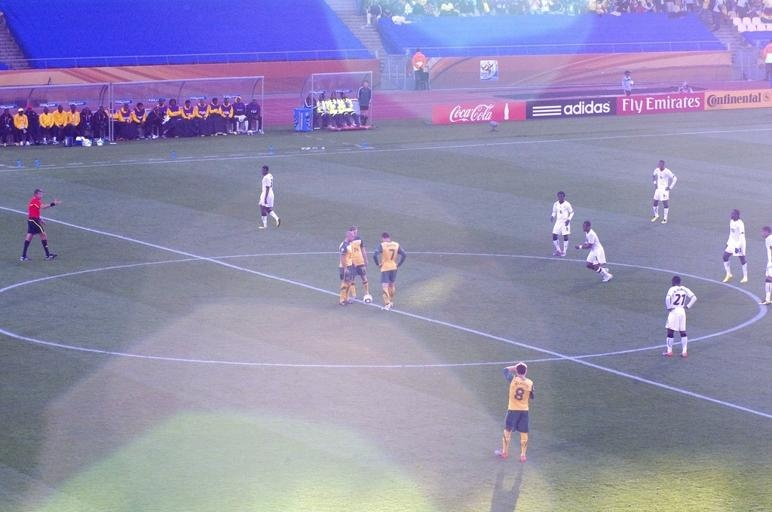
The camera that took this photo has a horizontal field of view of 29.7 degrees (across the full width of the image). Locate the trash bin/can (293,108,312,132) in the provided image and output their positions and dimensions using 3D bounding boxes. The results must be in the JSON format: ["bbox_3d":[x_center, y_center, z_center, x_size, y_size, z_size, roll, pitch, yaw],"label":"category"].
[{"bbox_3d":[-5.207,-8.610,91.858,1.108,1.542,0.969,-2,10,0],"label":"trash bin/can"}]

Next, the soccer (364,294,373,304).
[{"bbox_3d":[-0.707,1.710,56.914,0.363,0.249,0.389,2,-2,-6],"label":"soccer"}]

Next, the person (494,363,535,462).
[{"bbox_3d":[4.216,5.076,47.679,1.097,3.197,1.228,-2,11,3],"label":"person"}]
